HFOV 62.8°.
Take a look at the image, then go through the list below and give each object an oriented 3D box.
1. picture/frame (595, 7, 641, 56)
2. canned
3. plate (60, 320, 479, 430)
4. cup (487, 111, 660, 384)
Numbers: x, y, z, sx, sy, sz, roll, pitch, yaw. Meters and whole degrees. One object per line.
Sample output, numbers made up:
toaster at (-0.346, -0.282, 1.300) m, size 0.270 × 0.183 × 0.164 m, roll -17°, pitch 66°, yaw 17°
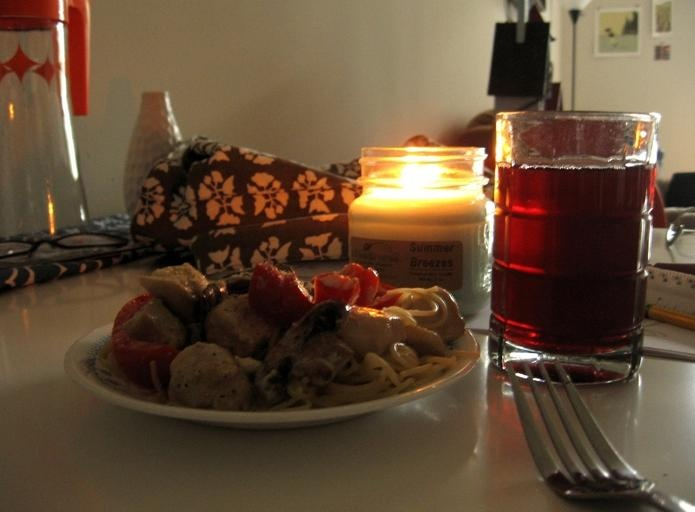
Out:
picture/frame at (2.520, -2.074, 5.292) m, size 0.490 × 0.509 × 0.035 m, roll 1°, pitch -6°, yaw 0°
canned at (0.080, -0.028, 0.694) m, size 0.146 × 0.203 × 0.099 m, roll -9°, pitch 14°, yaw -36°
plate at (-0.100, 0.060, 0.473) m, size 0.282 × 0.062 × 0.180 m, roll -3°, pitch 5°, yaw -30°
cup at (0.211, -0.009, 0.550) m, size 0.147 × 0.228 × 0.142 m, roll 1°, pitch 6°, yaw 0°
